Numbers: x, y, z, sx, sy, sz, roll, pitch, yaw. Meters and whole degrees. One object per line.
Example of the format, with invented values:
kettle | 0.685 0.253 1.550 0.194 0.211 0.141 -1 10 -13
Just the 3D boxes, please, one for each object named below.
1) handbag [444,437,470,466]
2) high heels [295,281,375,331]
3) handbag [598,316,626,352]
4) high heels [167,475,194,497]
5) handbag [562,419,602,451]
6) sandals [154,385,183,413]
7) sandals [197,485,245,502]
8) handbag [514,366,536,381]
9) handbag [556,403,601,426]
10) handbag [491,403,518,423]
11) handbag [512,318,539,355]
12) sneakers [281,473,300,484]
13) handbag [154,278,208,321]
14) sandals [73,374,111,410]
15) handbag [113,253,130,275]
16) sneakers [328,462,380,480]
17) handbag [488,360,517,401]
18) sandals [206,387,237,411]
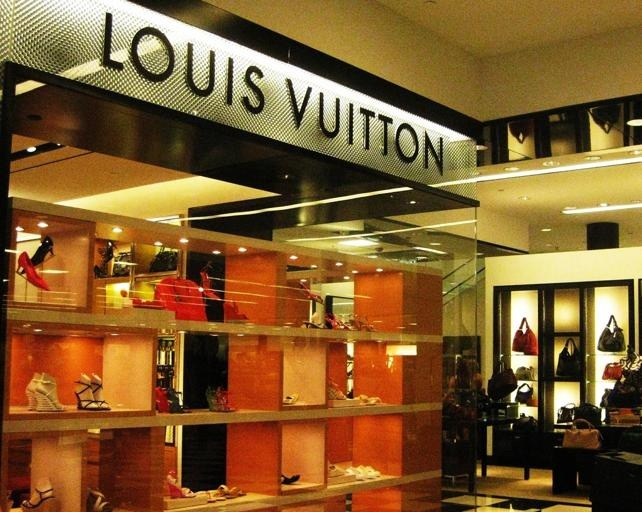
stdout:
handbag | 0.934 1.352 4.392 0.193 0.169 0.100 10 -16 -40
high heels | 0.125 0.342 3.895 0.172 0.226 0.596 -7 -11 37
handbag | 4.157 1.110 9.030 0.236 0.547 0.387 26 -27 -31
high heels | -0.732 1.196 3.307 0.065 0.082 0.214 -2 -8 16
handbag | 3.254 2.222 7.864 0.356 0.284 0.143 -6 -25 30
sandals | -0.782 0.747 3.295 0.072 0.080 0.205 7 -15 -35
sandals | -0.528 1.281 3.448 0.210 0.055 0.078 13 -10 -39
handbag | 3.174 1.828 9.839 0.226 0.179 0.273 -1 -10 24
handbag | 3.595 2.191 8.779 0.467 0.279 0.188 -2 -6 41
handbag | 2.759 2.319 9.501 0.325 0.222 0.471 -4 -8 38
handbag | 3.209 1.264 9.892 0.251 0.663 0.495 13 -15 -39
sneakers | -0.173 1.277 3.659 0.124 0.046 0.041 6 -8 -39
handbag | -0.715 0.232 3.339 0.074 0.228 0.236 -24 -19 36
sandals | -1.088 0.651 2.986 0.090 0.131 0.193 9 -16 -37
handbag | -0.940 0.039 3.025 0.070 0.034 0.113 4 14 -14
sneakers | 0.208 1.348 3.958 0.248 0.071 0.173 4 -8 -26
handbag | 2.733 1.868 9.461 0.404 0.528 0.199 -35 -43 25
sandals | -0.548 0.785 3.515 0.128 0.108 0.152 5 -8 -43
